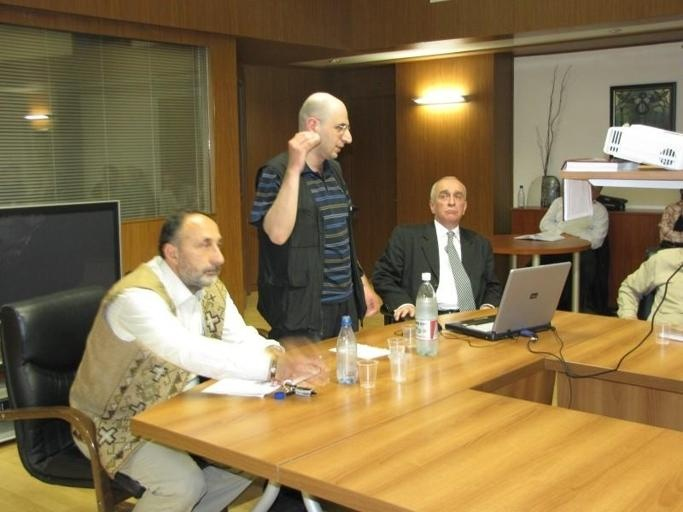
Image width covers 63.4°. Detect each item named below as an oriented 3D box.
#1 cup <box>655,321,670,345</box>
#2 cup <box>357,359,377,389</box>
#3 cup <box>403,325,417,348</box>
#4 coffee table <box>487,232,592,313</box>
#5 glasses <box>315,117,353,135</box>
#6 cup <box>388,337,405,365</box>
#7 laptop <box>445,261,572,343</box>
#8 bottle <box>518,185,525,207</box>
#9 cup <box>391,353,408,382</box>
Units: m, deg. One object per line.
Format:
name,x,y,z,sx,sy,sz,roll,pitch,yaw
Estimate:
cup,1.543,0.371,2.672,0.060,0.112,0.066,-2,7,0
cup,0.111,0.472,2.193,0.076,0.086,0.078,-3,-5,0
cup,0.335,0.389,2.680,0.071,0.081,0.071,-1,-1,0
coffee table,2.017,0.243,5.598,0.853,0.726,0.926,1,13,13
glasses,-0.042,-0.645,2.770,0.194,0.096,0.059,-5,9,-25
cup,0.227,0.381,2.262,0.072,0.122,0.098,0,3,15
laptop,0.863,0.155,2.751,0.430,0.346,0.408,-5,10,-37
bottle,2.536,-0.859,7.811,0.104,0.276,0.408,2,9,17
cup,0.225,0.437,2.192,0.087,0.104,0.089,-2,-7,0
